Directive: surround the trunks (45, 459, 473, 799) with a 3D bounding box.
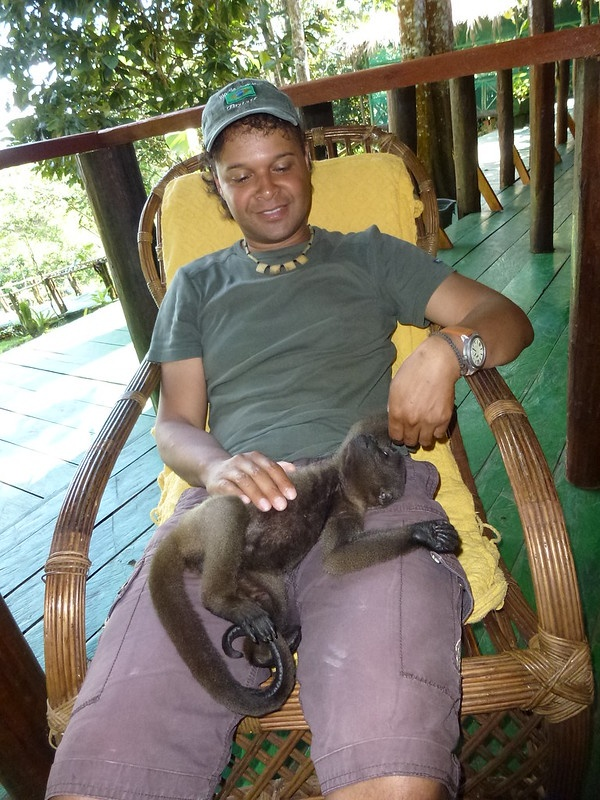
[{"bbox_3d":[0.000,0.291,1.028,0.374,0.157,0.593,-1,22,8],"label":"trunks"}]

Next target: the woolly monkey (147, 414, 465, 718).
[{"bbox_3d":[0.069,0.314,1.146,0.606,0.151,0.415,-20,51,-13],"label":"woolly monkey"}]

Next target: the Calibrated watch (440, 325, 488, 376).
[{"bbox_3d":[0.335,-0.094,1.229,0.093,0.101,0.070,-5,27,16],"label":"Calibrated watch"}]

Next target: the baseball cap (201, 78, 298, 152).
[{"bbox_3d":[-0.132,-0.690,1.422,0.162,0.104,0.213,-15,29,11],"label":"baseball cap"}]
